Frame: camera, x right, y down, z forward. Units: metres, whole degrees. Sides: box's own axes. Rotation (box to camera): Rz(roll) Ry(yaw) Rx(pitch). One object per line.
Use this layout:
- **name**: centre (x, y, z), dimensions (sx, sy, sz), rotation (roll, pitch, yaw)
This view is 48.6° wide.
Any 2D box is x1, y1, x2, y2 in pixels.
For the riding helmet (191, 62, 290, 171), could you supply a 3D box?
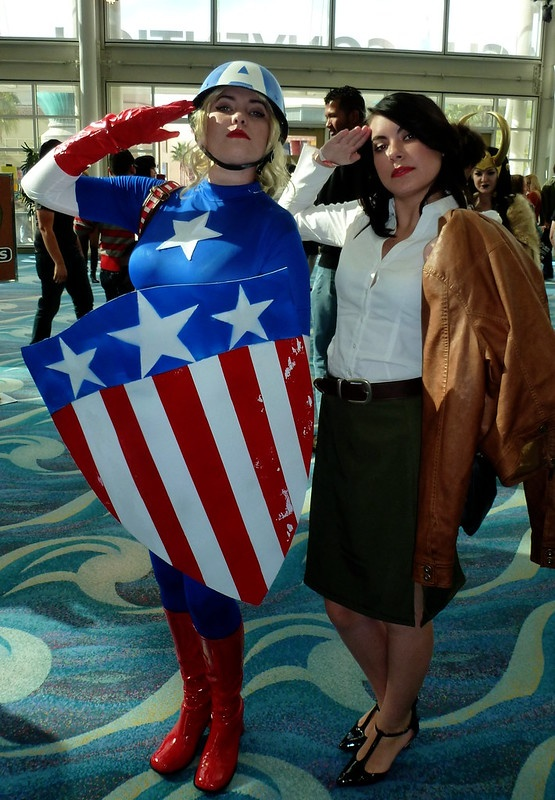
- **riding helmet**: centre (-0.041, -0.536, 1.146), dimensions (0.208, 0.202, 0.200), rotation (10, 47, -4)
